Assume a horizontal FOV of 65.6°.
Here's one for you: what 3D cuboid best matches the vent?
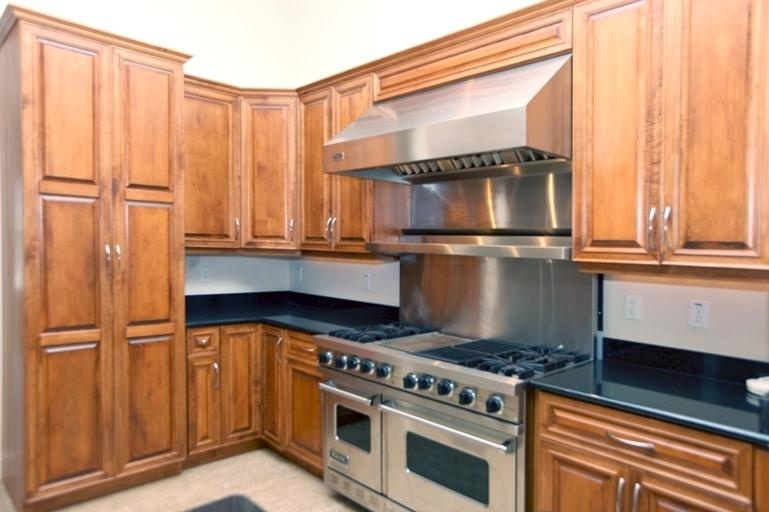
[{"bbox_3d":[0.344,-0.846,3.781,1.557,0.491,0.665,1,5,43],"label":"vent"}]
